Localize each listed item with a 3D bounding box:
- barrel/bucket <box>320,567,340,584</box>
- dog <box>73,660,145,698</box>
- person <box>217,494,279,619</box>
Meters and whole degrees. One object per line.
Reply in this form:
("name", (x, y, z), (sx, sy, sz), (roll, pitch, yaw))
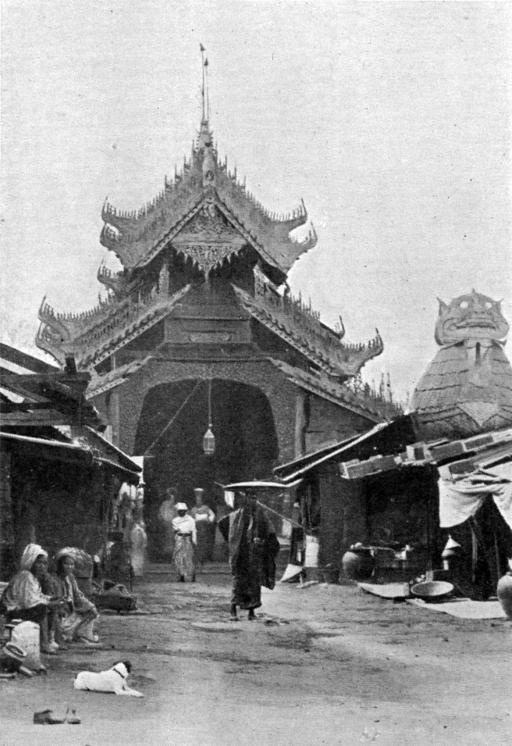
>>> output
("barrel/bucket", (0.616, 1.660, 8.846), (0.125, 0.105, 0.133), (-1, -3, 0))
("dog", (-0.901, 1.850, 6.538), (0.498, 0.272, 0.188), (0, -5, 5))
("person", (-0.053, 1.358, 8.214), (0.479, 0.784, 0.769), (4, 12, -4))
